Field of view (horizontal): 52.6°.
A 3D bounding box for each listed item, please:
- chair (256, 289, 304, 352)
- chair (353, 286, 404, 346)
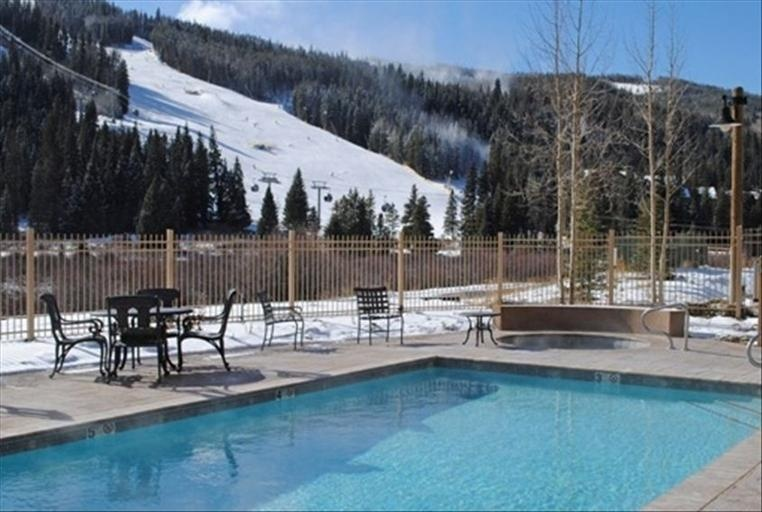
[{"bbox_3d":[-2.724,1.717,20.686,1.484,2.226,1.464,0,0,6],"label":"chair"},{"bbox_3d":[-0.051,1.625,20.780,1.122,1.583,1.091,1,-3,-35],"label":"chair"}]
